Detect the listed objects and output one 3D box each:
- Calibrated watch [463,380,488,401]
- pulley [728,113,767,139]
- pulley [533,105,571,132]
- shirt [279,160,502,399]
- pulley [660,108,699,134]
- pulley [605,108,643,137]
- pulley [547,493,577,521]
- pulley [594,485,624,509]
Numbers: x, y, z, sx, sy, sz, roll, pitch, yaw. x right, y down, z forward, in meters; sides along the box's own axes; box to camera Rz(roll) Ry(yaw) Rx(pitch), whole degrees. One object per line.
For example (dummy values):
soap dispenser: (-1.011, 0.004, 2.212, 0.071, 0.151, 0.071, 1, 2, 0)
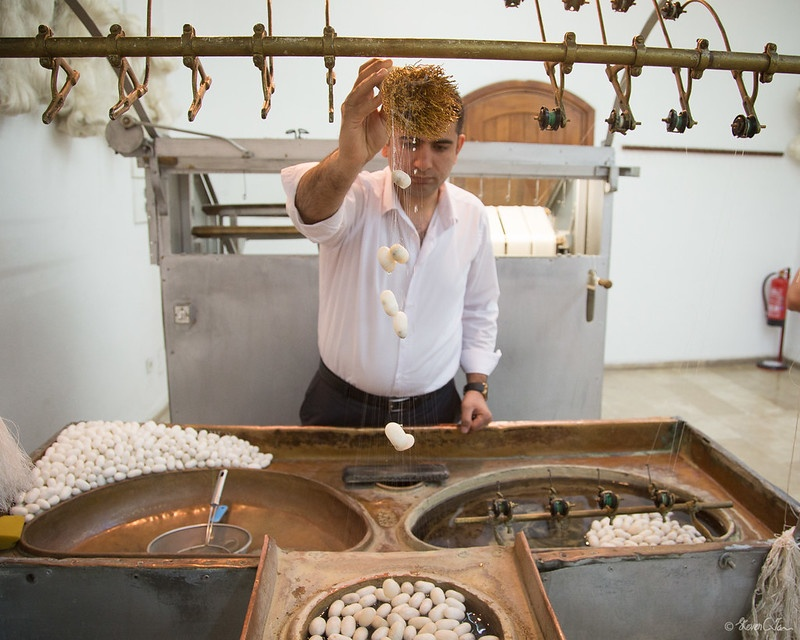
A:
Calibrated watch: (0.290, 0.256, 2.761, 0.071, 0.073, 0.081, 3, -11, 3)
pulley: (0.929, -0.530, 1.989, 0.040, 0.070, 0.085, 0, 10, -31)
pulley: (0.413, -0.532, 1.991, 0.093, 0.068, 0.070, -3, 6, -2)
shirt: (-0.037, -0.146, 2.713, 0.821, 0.863, 0.467, -2, 15, -23)
pulley: (0.804, -0.577, 2.123, 0.082, 0.077, 0.430, 5, 12, 20)
pulley: (0.623, -0.534, 2.013, 0.102, 0.085, 0.084, -1, 18, -4)
pulley: (0.473, 0.556, 2.189, 0.079, 0.089, 0.067, 1, -5, -4)
pulley: (0.626, 0.526, 2.206, 0.060, 0.068, 0.074, 2, 1, -3)
